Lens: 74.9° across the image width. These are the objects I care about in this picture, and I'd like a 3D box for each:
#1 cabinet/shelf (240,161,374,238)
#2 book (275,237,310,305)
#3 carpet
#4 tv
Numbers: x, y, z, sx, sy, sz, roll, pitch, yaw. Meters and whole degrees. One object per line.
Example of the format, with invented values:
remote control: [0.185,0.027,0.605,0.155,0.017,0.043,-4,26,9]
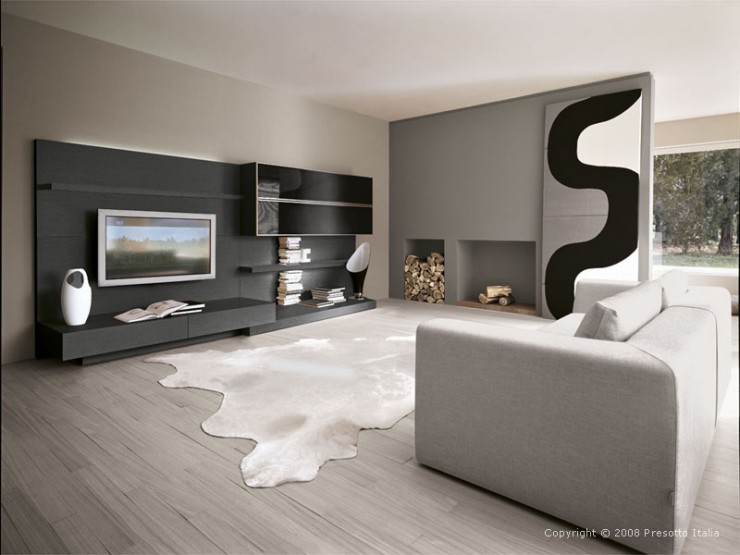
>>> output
cabinet/shelf: [-0.784,-0.983,6.354,0.328,0.817,1.948,14,13,43]
book: [-0.993,-0.116,6.202,0.185,0.857,0.538,8,14,32]
carpet: [-0.438,0.815,3.683,2.101,0.075,2.339,-4,12,-21]
tv: [-2.126,-0.309,4.912,1.112,0.696,0.078,-2,-2,-12]
